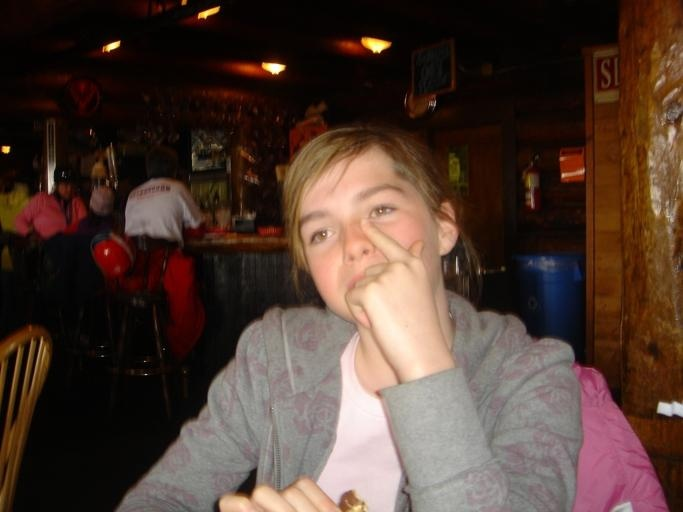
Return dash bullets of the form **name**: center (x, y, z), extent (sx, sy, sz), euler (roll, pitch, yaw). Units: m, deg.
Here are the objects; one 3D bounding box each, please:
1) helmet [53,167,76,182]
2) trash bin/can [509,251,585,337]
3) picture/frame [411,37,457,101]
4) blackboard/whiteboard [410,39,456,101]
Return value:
- **helmet**: center (-2.786, -0.818, 5.654), extent (0.203, 0.170, 0.213), euler (0, 9, -11)
- **trash bin/can**: center (1.839, 0.469, 5.100), extent (0.478, 0.848, 0.504), euler (4, 0, -16)
- **picture/frame**: center (0.937, -1.891, 5.738), extent (0.075, 0.502, 0.660), euler (-5, 7, -29)
- **blackboard/whiteboard**: center (0.933, -1.899, 5.755), extent (0.079, 0.527, 0.695), euler (-4, 5, -28)
